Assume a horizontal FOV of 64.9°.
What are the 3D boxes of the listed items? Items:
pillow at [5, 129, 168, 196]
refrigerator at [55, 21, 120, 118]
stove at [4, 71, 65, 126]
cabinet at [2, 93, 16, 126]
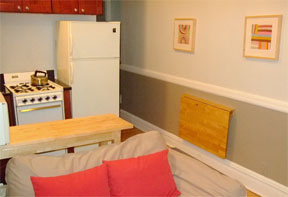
[{"bbox_3d":[-0.502,0.511,1.989,1.138,0.332,0.587,-9,23,-12],"label":"pillow"},{"bbox_3d":[-0.976,-0.491,4.010,1.186,1.696,0.618,-3,16,-5],"label":"refrigerator"},{"bbox_3d":[-1.899,-0.058,3.880,0.838,0.757,1.005,-13,19,-35],"label":"stove"},{"bbox_3d":[-2.025,0.168,3.435,0.126,0.509,0.144,-11,19,-30],"label":"cabinet"}]
